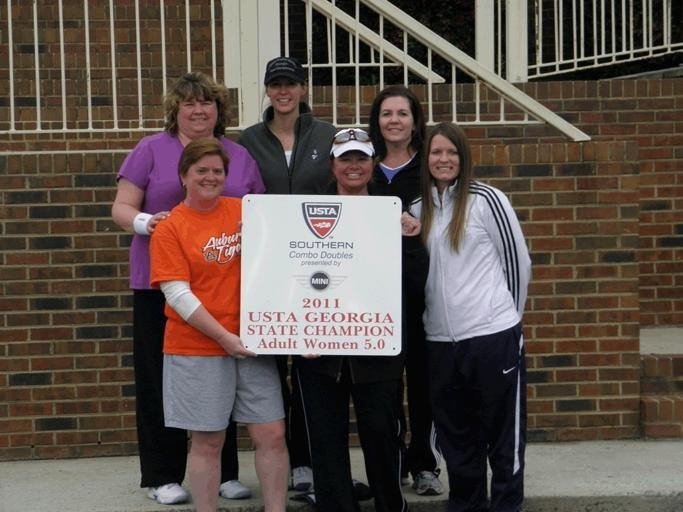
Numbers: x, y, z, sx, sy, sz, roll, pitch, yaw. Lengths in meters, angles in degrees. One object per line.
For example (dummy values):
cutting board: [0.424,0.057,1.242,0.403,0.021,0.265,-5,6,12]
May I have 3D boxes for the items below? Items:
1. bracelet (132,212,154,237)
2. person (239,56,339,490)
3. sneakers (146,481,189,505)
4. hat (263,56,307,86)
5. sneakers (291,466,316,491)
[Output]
bracelet: [-1.391,-0.228,10.934,0.120,0.127,0.152,2,27,9]
person: [-0.261,0.043,11.302,0.945,3.067,0.809,-4,-5,-15]
sneakers: [-1.223,1.695,11.165,0.126,0.108,0.255,2,-10,-45]
hat: [-0.410,-1.338,11.297,0.295,0.197,0.457,-1,3,0]
sneakers: [-0.277,1.612,11.345,0.142,0.187,0.193,1,4,-2]
